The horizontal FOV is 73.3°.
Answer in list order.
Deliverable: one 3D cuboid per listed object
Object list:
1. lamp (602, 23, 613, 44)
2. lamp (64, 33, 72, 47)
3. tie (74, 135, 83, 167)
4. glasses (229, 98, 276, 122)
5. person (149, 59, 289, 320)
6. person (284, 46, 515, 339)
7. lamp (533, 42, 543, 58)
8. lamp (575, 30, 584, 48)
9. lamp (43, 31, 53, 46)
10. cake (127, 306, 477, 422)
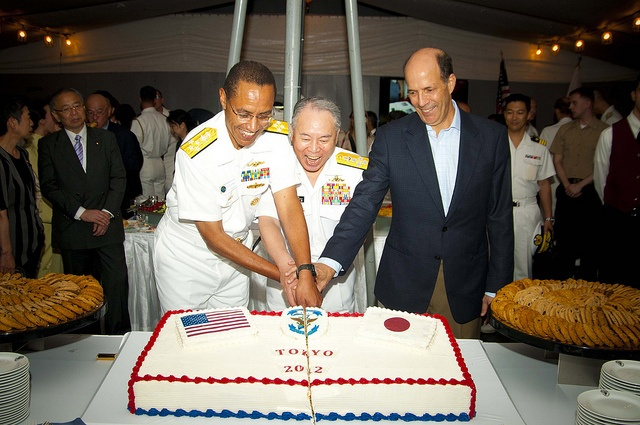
[{"bbox_3d":[4.573,-2.856,6.898,0.175,0.258,0.075,-8,16,-23],"label":"lamp"},{"bbox_3d":[-5.257,-3.574,8.973,0.181,0.233,0.100,7,16,28],"label":"lamp"},{"bbox_3d":[-2.345,-0.621,4.199,0.076,0.262,0.087,-9,17,-29],"label":"tie"},{"bbox_3d":[-0.411,-0.582,2.483,0.275,0.137,0.143,-1,14,-2],"label":"glasses"},{"bbox_3d":[-0.673,-0.110,2.820,0.938,1.642,0.608,3,15,12],"label":"person"},{"bbox_3d":[0.673,0.067,2.812,1.162,1.520,0.401,0,14,2],"label":"person"},{"bbox_3d":[4.445,-3.278,8.767,0.086,0.223,0.152,12,31,31],"label":"lamp"},{"bbox_3d":[4.543,-3.028,7.540,0.072,0.250,0.182,1,3,19],"label":"lamp"},{"bbox_3d":[-5.440,-3.478,8.641,0.103,0.240,0.343,-7,16,-24],"label":"lamp"},{"bbox_3d":[-0.062,0.757,2.154,1.453,0.258,0.658,2,20,1],"label":"cake"}]
